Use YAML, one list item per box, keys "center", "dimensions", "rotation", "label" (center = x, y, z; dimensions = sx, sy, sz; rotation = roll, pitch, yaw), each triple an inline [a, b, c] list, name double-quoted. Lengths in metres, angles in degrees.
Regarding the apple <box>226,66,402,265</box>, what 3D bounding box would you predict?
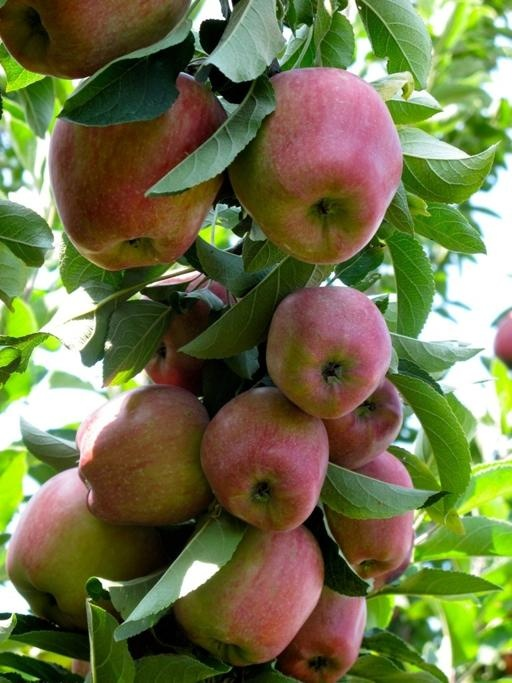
- center: [0.085, -0.274, 1.265]
  dimensions: [0.323, 0.294, 0.292]
  rotation: [-11, -34, -13]
  label: "apple"
